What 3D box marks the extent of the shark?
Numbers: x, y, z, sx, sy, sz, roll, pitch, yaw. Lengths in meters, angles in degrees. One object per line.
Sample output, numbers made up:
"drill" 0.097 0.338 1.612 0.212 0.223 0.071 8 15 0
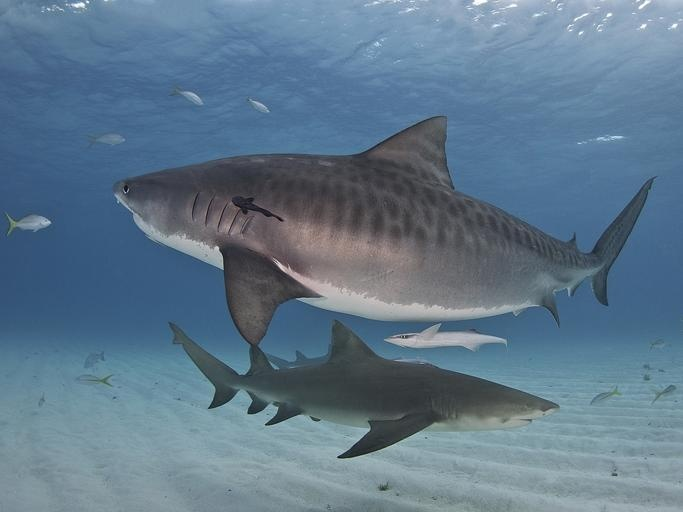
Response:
"shark" 4.773 -0.129 19.609 21.043 5.678 5.701 12 6 -3
